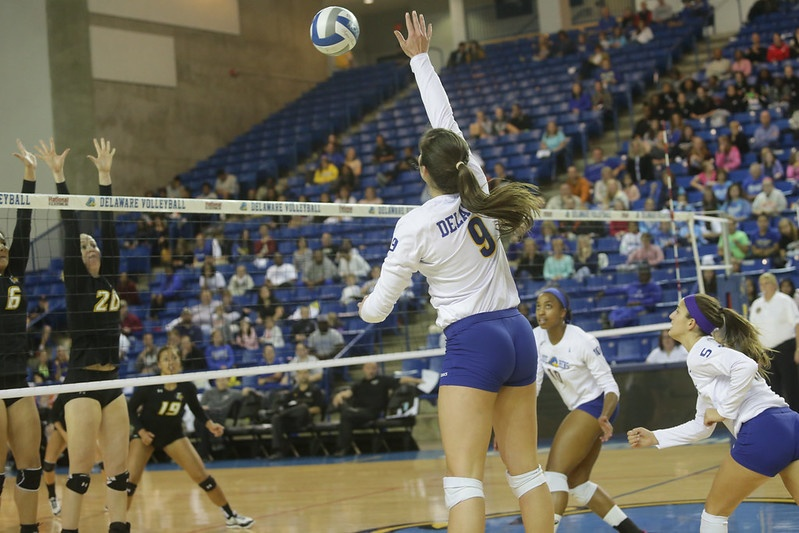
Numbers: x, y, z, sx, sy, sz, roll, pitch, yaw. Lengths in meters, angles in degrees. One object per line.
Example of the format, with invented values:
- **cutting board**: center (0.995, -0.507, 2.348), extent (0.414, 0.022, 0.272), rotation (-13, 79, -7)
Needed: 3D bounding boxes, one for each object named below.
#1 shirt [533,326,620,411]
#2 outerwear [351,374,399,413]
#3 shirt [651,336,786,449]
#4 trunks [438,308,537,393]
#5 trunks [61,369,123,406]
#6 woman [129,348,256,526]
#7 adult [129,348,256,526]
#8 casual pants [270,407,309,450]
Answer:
- **shirt**: center (2.345, 1.431, 13.725), extent (0.655, 1.083, 1.259), rotation (-34, 5, -35)
- **outerwear**: center (-0.435, 2.363, 18.476), extent (0.618, 0.347, 0.174), rotation (8, -31, 27)
- **shirt**: center (3.954, 1.564, 12.575), extent (1.995, 1.330, 0.942), rotation (-18, -13, 24)
- **trunks**: center (1.077, 1.032, 11.939), extent (1.263, 0.972, 0.889), rotation (-1, -6, -38)
- **trunks**: center (-4.082, 1.776, 13.421), extent (0.773, 0.467, 0.448), rotation (9, -27, -39)
- **woman**: center (-3.295, 2.800, 16.230), extent (1.847, 2.787, 1.045), rotation (13, -46, -46)
- **adult**: center (-3.295, 2.800, 16.230), extent (1.847, 2.787, 1.045), rotation (13, -46, -46)
- **casual pants**: center (-2.044, 2.991, 18.575), extent (0.722, 0.948, 0.706), rotation (-2, -10, 15)
